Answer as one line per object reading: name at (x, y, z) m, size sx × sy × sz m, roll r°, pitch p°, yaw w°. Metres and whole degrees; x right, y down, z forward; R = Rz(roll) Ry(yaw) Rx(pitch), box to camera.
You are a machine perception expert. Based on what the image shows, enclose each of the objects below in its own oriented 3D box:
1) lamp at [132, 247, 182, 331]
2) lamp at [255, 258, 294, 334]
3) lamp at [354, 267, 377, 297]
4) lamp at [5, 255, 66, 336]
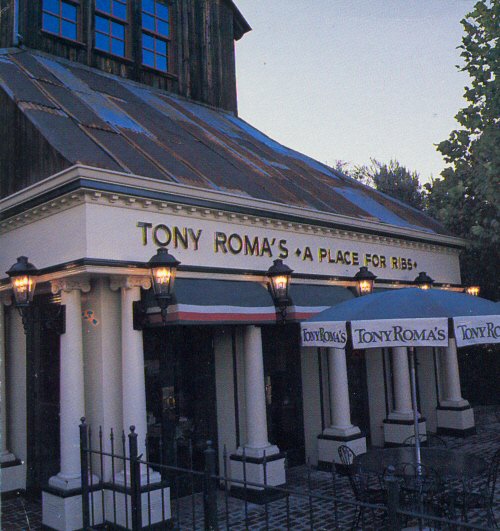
lamp at (-1.363, 0.328, 11.619) m, size 0.786 × 1.235 × 1.110 m, roll -2°, pitch -8°, yaw -18°
lamp at (0.510, 0.432, 13.242) m, size 0.434 × 1.123 × 0.617 m, roll -4°, pitch -8°, yaw -1°
lamp at (2.166, 0.297, 14.783) m, size 0.489 × 0.644 × 0.483 m, roll 0°, pitch -11°, yaw -4°
lamp at (-3.496, 0.631, 12.534) m, size 0.827 × 1.175 × 3.315 m, roll -2°, pitch -8°, yaw -16°
